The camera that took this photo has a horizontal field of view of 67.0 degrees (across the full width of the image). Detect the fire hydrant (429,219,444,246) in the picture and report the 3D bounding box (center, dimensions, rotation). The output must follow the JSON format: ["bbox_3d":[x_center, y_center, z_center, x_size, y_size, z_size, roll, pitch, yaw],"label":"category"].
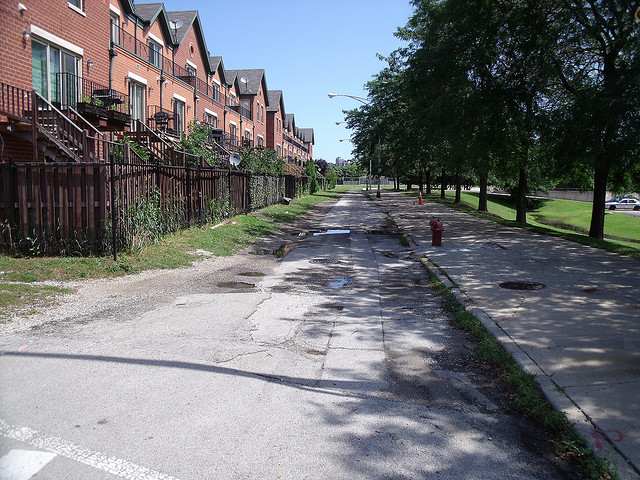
[{"bbox_3d":[3.981,-0.297,16.613,0.359,0.925,0.613,-1,9,8],"label":"fire hydrant"}]

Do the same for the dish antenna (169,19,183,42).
[{"bbox_3d":[-9.372,-13.832,31.642,0.832,1.863,1.894,-5,10,-16],"label":"dish antenna"}]

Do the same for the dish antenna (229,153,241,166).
[{"bbox_3d":[-4.338,-4.173,24.608,0.494,0.575,1.021,-4,10,-11],"label":"dish antenna"}]
